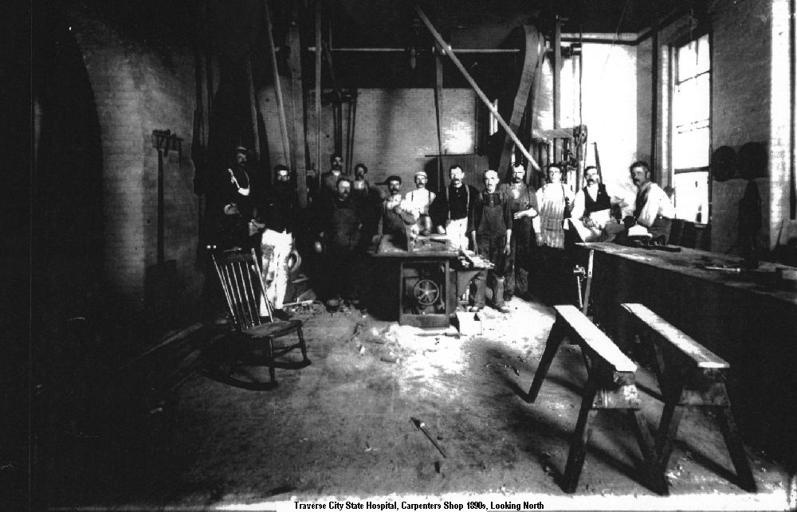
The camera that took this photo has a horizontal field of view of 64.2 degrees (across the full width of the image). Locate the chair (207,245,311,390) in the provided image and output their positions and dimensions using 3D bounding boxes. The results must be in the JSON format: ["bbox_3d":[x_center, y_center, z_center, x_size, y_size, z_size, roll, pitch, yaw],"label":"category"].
[{"bbox_3d":[-1.847,0.861,8.756,1.399,1.745,1.216,1,10,-5],"label":"chair"}]

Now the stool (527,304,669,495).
[{"bbox_3d":[2.186,2.154,7.900,1.018,1.350,2.163,7,-16,-7],"label":"stool"}]
